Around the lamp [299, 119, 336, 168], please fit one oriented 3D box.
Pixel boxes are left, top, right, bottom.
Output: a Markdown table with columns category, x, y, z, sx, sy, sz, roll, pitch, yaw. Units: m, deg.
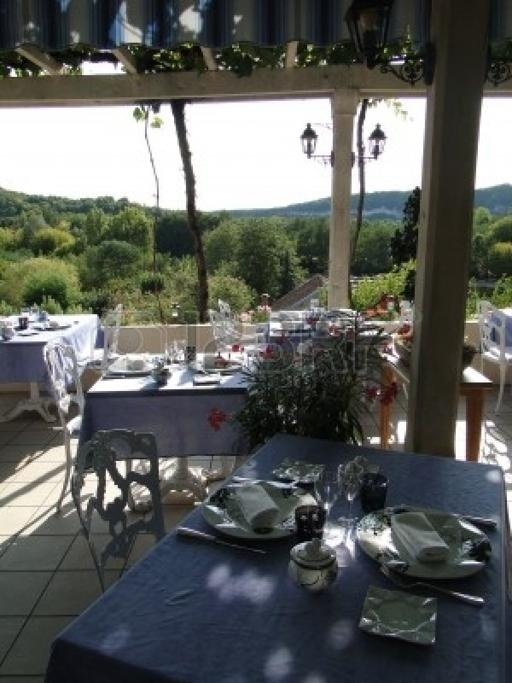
| category | x | y | z | sx | sy | sz | roll | pitch | yaw |
| --- | --- | --- | --- | --- | --- | --- | --- | --- | --- |
| lamp | 0.521 | -1.707 | 4.920 | 0.243 | 0.416 | 0.130 | 4 | 24 | 14 |

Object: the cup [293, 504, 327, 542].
| category | x | y | z | sx | sy | sz | roll | pitch | yaw |
| --- | --- | --- | --- | --- | --- | --- | --- | --- | --- |
| cup | 0.112 | 0.370 | 1.167 | 0.067 | 0.075 | 0.057 | 1 | 0 | 7 |

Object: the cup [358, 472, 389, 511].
| category | x | y | z | sx | sy | sz | roll | pitch | yaw |
| --- | --- | --- | --- | --- | --- | --- | --- | --- | --- |
| cup | 0.264 | 0.348 | 1.316 | 0.064 | 0.086 | 0.074 | 0 | 10 | 3 |

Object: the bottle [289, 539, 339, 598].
| category | x | y | z | sx | sy | sz | roll | pitch | yaw |
| --- | --- | --- | --- | --- | --- | --- | --- | --- | --- |
| bottle | 0.105 | 0.407 | 1.033 | 0.081 | 0.120 | 0.089 | -1 | 6 | 0 |

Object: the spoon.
| category | x | y | z | sx | sy | sz | roll | pitch | yaw |
| --- | --- | --- | --- | --- | --- | --- | --- | --- | --- |
| spoon | 0.296 | 0.432 | 1.030 | 0.219 | 0.046 | 0.056 | 9 | 12 | 33 |

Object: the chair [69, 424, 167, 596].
| category | x | y | z | sx | sy | sz | roll | pitch | yaw |
| --- | --- | --- | --- | --- | --- | --- | --- | --- | --- |
| chair | -0.462 | 0.558 | 1.862 | 0.336 | 0.692 | 0.162 | 0 | 1 | 36 |

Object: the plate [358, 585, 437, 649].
| category | x | y | z | sx | sy | sz | roll | pitch | yaw |
| --- | --- | --- | --- | --- | --- | --- | --- | --- | --- |
| plate | 0.235 | 0.449 | 0.929 | 0.117 | 0.009 | 0.140 | 3 | 9 | 19 |

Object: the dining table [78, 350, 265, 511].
| category | x | y | z | sx | sy | sz | roll | pitch | yaw |
| --- | --- | --- | --- | --- | --- | --- | --- | --- | --- |
| dining table | -0.415 | 0.421 | 2.681 | 0.626 | 0.558 | 0.679 | -1 | 5 | -11 |

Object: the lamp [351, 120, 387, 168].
| category | x | y | z | sx | sy | sz | roll | pitch | yaw |
| --- | --- | --- | --- | --- | --- | --- | --- | --- | --- |
| lamp | 1.038 | -1.787 | 5.118 | 0.243 | 0.428 | 0.164 | 6 | 9 | 12 |
